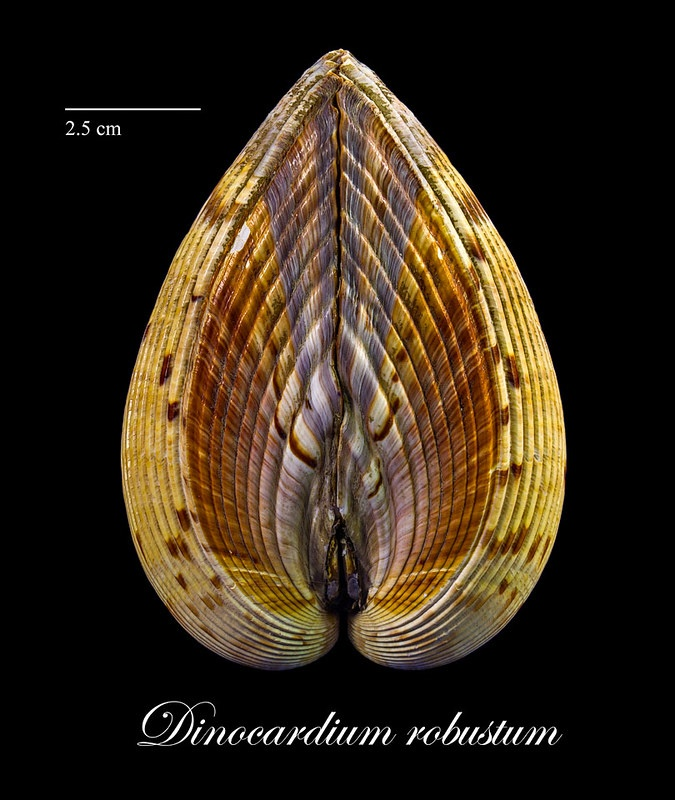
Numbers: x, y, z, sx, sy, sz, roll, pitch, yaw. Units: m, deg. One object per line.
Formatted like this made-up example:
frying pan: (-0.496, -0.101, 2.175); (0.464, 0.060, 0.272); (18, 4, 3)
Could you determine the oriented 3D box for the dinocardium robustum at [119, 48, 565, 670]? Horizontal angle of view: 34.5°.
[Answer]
dinocardium robustum: (-0.002, -0.025, 1.124); (0.407, 0.169, 0.771); (-2, 63, -7)
